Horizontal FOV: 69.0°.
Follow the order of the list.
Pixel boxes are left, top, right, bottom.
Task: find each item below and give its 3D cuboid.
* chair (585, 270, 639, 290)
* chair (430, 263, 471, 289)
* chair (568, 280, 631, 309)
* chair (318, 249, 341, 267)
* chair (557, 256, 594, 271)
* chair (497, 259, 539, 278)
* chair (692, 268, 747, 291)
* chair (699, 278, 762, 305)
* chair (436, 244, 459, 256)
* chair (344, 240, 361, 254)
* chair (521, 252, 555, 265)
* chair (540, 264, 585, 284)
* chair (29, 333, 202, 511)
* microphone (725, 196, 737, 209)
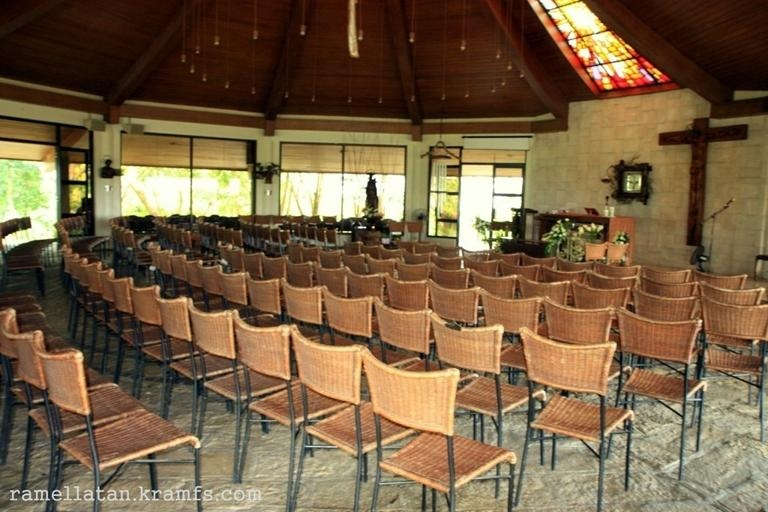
[{"bbox_3d":[2.766,0.278,6.750,0.346,0.325,0.319,10,19,40],"label":"chair"},{"bbox_3d":[0.832,0.216,7.069,0.358,0.453,0.387,8,15,32],"label":"chair"},{"bbox_3d":[2.311,0.417,6.060,0.453,0.439,0.406,10,21,38],"label":"chair"},{"bbox_3d":[-0.716,0.019,7.846,0.272,0.271,0.293,7,11,29],"label":"chair"},{"bbox_3d":[2.694,0.094,7.881,0.319,0.315,0.317,-15,20,-39],"label":"chair"},{"bbox_3d":[1.811,0.162,7.486,0.367,0.355,0.341,12,19,39],"label":"chair"},{"bbox_3d":[4.880,0.314,8.074,0.404,0.425,0.328,-18,24,-40],"label":"chair"},{"bbox_3d":[3.870,0.396,6.282,0.344,0.439,0.388,15,28,38],"label":"chair"},{"bbox_3d":[1.099,-0.115,9.408,0.354,0.212,0.230,0,2,-12],"label":"chair"},{"bbox_3d":[-0.503,-0.164,9.413,0.262,0.196,0.247,13,19,36],"label":"chair"},{"bbox_3d":[2.525,0.031,9.154,0.297,0.298,0.286,-10,16,-34],"label":"chair"},{"bbox_3d":[2.228,0.216,7.121,0.341,0.355,0.305,-13,19,-42],"label":"chair"},{"bbox_3d":[-2.062,1.274,4.224,1.251,1.334,0.787,4,8,35],"label":"chair"},{"bbox_3d":[7.912,-1.233,12.699,0.216,0.166,0.603,-12,11,17],"label":"microphone"}]
